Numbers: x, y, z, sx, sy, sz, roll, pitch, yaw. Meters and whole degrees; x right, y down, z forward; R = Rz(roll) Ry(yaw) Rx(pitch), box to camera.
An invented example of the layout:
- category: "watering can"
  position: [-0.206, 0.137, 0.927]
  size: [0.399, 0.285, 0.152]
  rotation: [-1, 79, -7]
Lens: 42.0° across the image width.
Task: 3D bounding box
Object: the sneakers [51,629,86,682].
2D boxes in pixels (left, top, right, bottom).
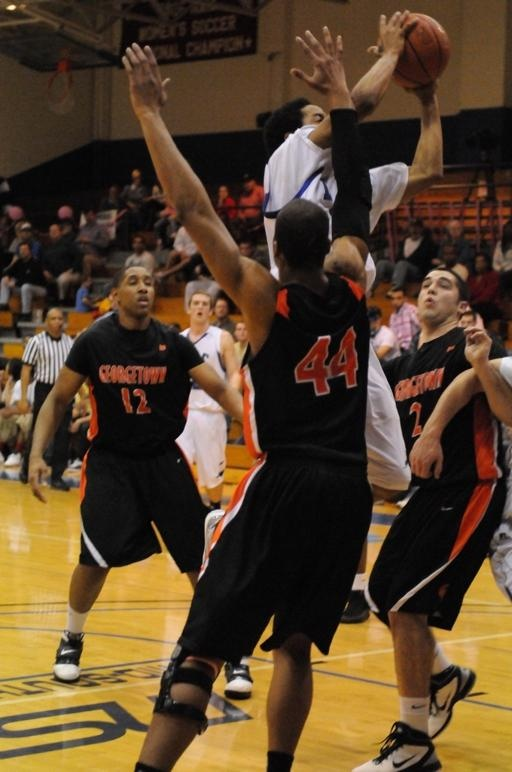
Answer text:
- category: "sneakers"
  position: [-0.748, 1.086, 2.672]
  size: [0.074, 0.095, 0.227]
  rotation: [6, -6, -7]

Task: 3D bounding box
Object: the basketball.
- category: "basketball"
  position: [0.454, -0.997, 2.021]
  size: [0.199, 0.232, 0.192]
  rotation: [9, 36, -7]

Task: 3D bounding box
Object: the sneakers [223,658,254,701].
- category: "sneakers"
  position: [-0.065, 1.113, 2.584]
  size: [0.112, 0.144, 0.277]
  rotation: [3, -7, -1]

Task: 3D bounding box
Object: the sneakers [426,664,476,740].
- category: "sneakers"
  position: [0.643, 1.063, 2.230]
  size: [0.219, 0.245, 0.090]
  rotation: [9, -9, -44]
